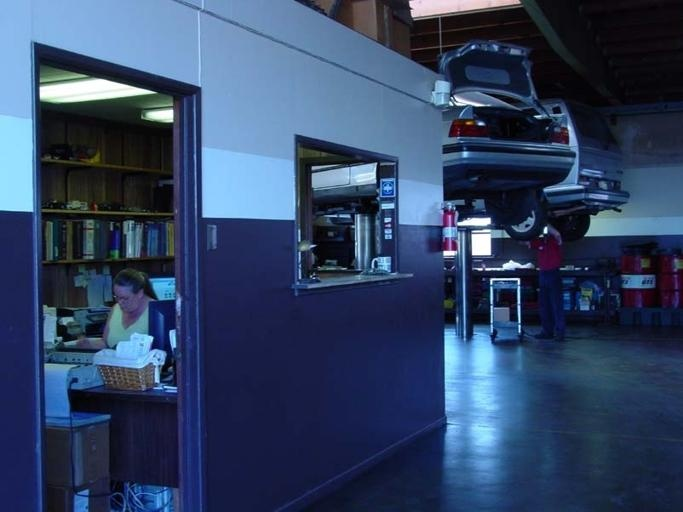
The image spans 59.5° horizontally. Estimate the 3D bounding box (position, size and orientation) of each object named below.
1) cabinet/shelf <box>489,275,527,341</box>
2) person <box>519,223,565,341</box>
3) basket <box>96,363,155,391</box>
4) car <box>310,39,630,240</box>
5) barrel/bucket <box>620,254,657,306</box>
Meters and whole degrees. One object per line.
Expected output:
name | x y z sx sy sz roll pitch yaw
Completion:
cabinet/shelf | 2.663 0.838 9.797 0.488 1.023 0.720 -1 1 11
person | 3.124 0.387 9.048 0.437 1.754 0.841 0 2 25
basket | -1.246 0.676 3.489 0.228 0.116 0.169 -1 -1 13
car | 1.390 -1.351 8.069 1.936 1.741 3.287 -3 5 -40
barrel/bucket | 5.300 0.437 10.628 0.550 0.915 0.583 1 -2 0
